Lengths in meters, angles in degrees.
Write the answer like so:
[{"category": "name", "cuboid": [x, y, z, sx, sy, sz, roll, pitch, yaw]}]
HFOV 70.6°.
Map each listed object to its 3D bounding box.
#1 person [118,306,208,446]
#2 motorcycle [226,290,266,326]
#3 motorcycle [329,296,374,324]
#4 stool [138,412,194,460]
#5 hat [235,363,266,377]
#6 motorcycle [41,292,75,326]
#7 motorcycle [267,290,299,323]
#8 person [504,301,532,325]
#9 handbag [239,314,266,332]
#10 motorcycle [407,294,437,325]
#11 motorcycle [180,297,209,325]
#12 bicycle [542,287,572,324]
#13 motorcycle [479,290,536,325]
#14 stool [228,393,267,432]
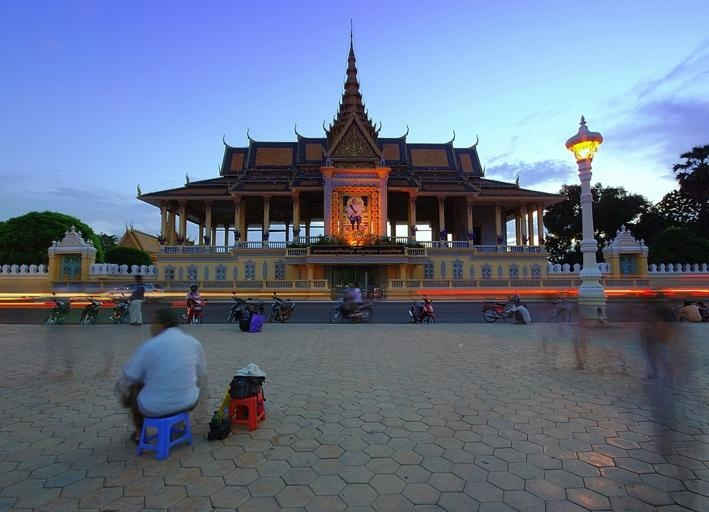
[{"category": "person", "cuboid": [-2.291, 1.456, 5.980, 1.002, 1.620, 0.528, -2, 5, -17]}, {"category": "motorcycle", "cuboid": [-4.146, 1.957, 18.977, 1.591, 0.873, 0.957, 5, 27, 13]}, {"category": "motorcycle", "cuboid": [-0.115, 2.010, 17.825, 1.556, 0.856, 0.719, 1, -10, -2]}, {"category": "stool", "cuboid": [-2.263, 2.151, 6.056, 0.606, 0.423, 0.564, -3, -7, 19]}, {"category": "hat", "cuboid": [-1.345, 1.528, 6.696, 0.387, 0.161, 0.475, 1, -7, -1]}, {"category": "motorcycle", "cuboid": [-9.892, 1.825, 16.760, 0.656, 0.878, 1.554, -3, 5, -25]}, {"category": "motorcycle", "cuboid": [-2.585, 1.894, 17.414, 0.788, 0.899, 1.051, -2, 5, -9]}, {"category": "person", "cuboid": [5.331, 1.913, 16.303, 0.791, 0.687, 1.101, 1, 5, 19]}, {"category": "handbag", "cuboid": [-2.880, 1.949, 14.520, 0.654, 0.530, 0.466, 11, -3, 7]}, {"category": "motorcycle", "cuboid": [2.324, 1.807, 17.132, 0.810, 0.823, 1.294, 0, 5, 8]}, {"category": "motorcycle", "cuboid": [-5.329, 1.904, 17.142, 0.856, 1.017, 1.921, 2, -5, -37]}, {"category": "bicycle", "cuboid": [8.307, 2.054, 20.618, 0.801, 0.825, 1.588, -3, -6, 38]}, {"category": "motorcycle", "cuboid": [5.186, 1.832, 16.658, 2.000, 1.064, 0.785, 0, -5, 11]}, {"category": "stool", "cuboid": [-1.405, 2.061, 6.639, 0.490, 0.337, 0.450, -1, -6, 3]}]
